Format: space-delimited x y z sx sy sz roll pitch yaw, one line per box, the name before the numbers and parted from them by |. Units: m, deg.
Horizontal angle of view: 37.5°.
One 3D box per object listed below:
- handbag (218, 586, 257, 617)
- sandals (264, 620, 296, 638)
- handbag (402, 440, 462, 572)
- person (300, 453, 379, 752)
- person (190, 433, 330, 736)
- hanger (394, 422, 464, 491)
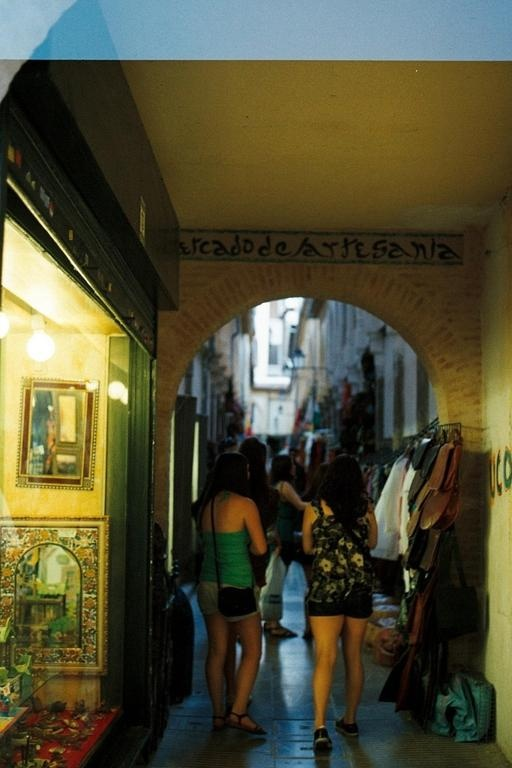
handbag | -0.119 1.263 4.432 0.173 0.150 0.178 -7 -9 43
sandals | 0.219 2.368 7.336 0.338 0.166 0.124 -2 -2 14
handbag | 1.158 0.786 5.041 0.328 0.912 0.369 1 0 3
person | 0.501 1.277 4.525 0.447 1.688 0.295 4 -8 -25
person | -0.096 1.268 4.674 0.506 1.593 0.480 -2 -4 36
hanger | 1.320 0.499 5.384 0.177 0.549 0.400 16 -10 -17
